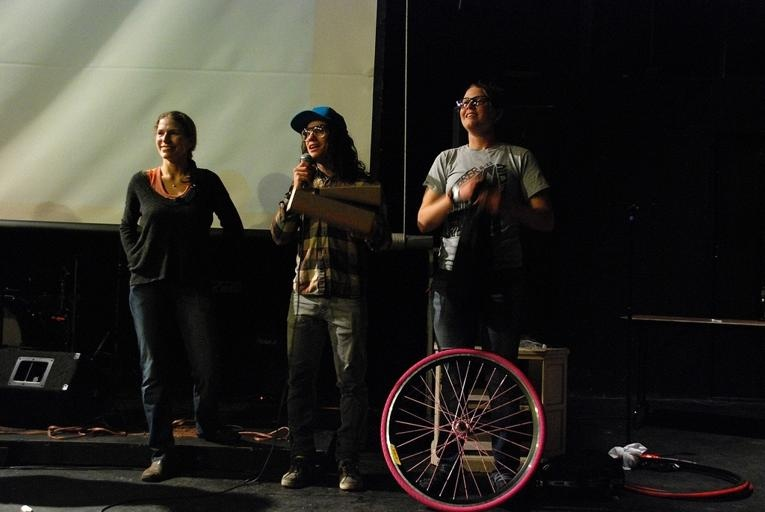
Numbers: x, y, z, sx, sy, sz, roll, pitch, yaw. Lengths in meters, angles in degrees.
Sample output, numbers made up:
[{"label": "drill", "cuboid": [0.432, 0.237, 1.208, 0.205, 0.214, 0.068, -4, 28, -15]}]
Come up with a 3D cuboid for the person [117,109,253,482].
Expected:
[{"label": "person", "cuboid": [-1.468, 0.260, 5.187, 0.810, 2.595, 0.627, -2, 10, -20]}]

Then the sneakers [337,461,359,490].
[{"label": "sneakers", "cuboid": [-0.234, 1.543, 4.982, 0.166, 0.191, 0.124, 1, 9, 1]}]

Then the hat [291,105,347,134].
[{"label": "hat", "cuboid": [-0.459, -0.966, 5.107, 0.304, 0.149, 0.211, 26, -13, -22]}]

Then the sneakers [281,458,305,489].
[{"label": "sneakers", "cuboid": [-0.615, 1.542, 4.992, 0.116, 0.144, 0.248, 3, -10, 13]}]

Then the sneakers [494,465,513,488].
[{"label": "sneakers", "cuboid": [0.818, 1.476, 4.736, 0.126, 0.091, 0.169, 5, 44, 6]}]

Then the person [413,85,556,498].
[{"label": "person", "cuboid": [0.690, -0.230, 4.809, 0.891, 1.839, 0.432, 2, 9, 4]}]

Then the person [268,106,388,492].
[{"label": "person", "cuboid": [-0.378, 0.283, 5.071, 0.811, 2.658, 0.686, 1, 9, 1]}]

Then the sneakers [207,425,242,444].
[{"label": "sneakers", "cuboid": [-1.185, 1.345, 5.290, 0.249, 0.106, 0.107, 13, -4, -9]}]

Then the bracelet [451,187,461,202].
[{"label": "bracelet", "cuboid": [0.491, -0.406, 4.731, 0.020, 0.099, 0.066, -6, 12, -38]}]

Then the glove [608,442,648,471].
[{"label": "glove", "cuboid": [1.916, 1.546, 5.489, 0.261, 0.110, 0.337, 3, 9, 10]}]

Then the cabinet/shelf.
[{"label": "cabinet/shelf", "cuboid": [0.997, 1.125, 5.796, 1.157, 1.157, 0.679, 0, -4, 0]}]

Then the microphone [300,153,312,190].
[{"label": "microphone", "cuboid": [-0.530, -0.607, 4.992, 0.084, 0.229, 0.193, 0, 9, -6]}]
